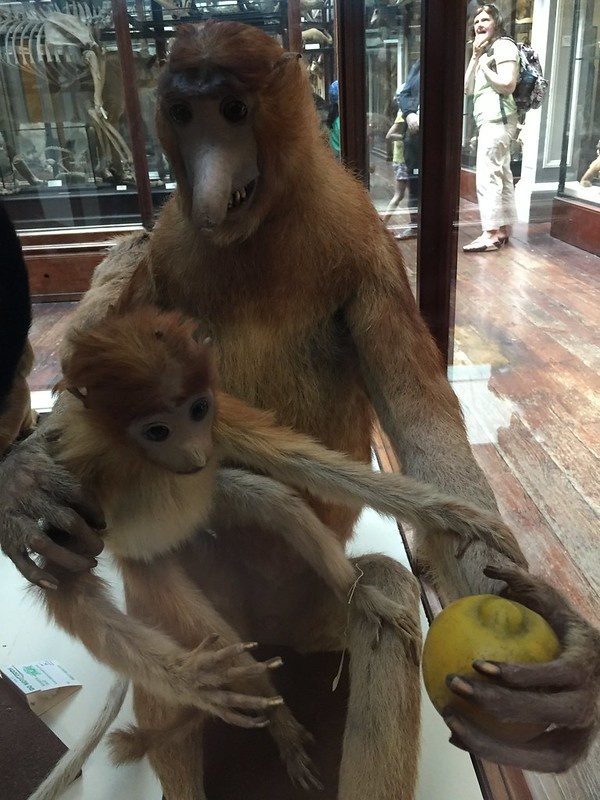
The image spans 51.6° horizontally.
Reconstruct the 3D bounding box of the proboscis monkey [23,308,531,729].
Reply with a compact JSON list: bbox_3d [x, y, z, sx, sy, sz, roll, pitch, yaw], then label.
[{"bbox_3d":[-0.068,0.071,0.592,0.327,0.249,0.460,-37,44,-28],"label":"proboscis monkey"}]

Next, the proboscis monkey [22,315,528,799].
[{"bbox_3d":[-0.044,0.179,0.718,0.310,0.595,0.294,-29,73,-7],"label":"proboscis monkey"}]
